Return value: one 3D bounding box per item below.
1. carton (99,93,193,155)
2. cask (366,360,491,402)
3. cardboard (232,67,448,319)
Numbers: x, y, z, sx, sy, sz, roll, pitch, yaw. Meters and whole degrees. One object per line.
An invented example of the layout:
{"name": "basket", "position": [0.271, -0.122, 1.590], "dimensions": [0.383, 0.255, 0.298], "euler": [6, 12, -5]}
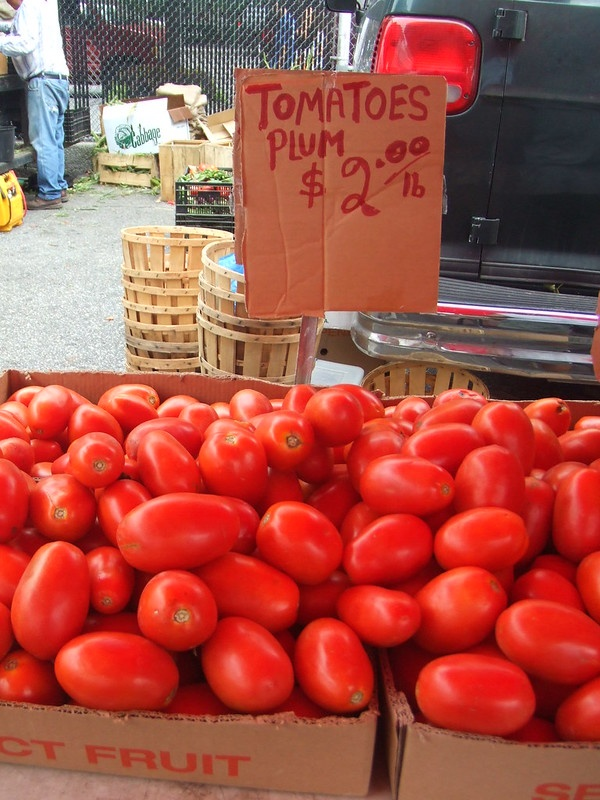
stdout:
{"name": "carton", "position": [-2.178, -3.871, 9.163], "dimensions": [1.143, 0.683, 1.085], "euler": [14, 32, 23]}
{"name": "cask", "position": [0.481, -0.057, 2.378], "dimensions": [0.253, 0.082, 0.249], "euler": [-22, 41, -36]}
{"name": "cardboard", "position": [0.089, -0.444, 1.431], "dimensions": [0.469, 0.518, 0.155], "euler": [1, 24, -7]}
